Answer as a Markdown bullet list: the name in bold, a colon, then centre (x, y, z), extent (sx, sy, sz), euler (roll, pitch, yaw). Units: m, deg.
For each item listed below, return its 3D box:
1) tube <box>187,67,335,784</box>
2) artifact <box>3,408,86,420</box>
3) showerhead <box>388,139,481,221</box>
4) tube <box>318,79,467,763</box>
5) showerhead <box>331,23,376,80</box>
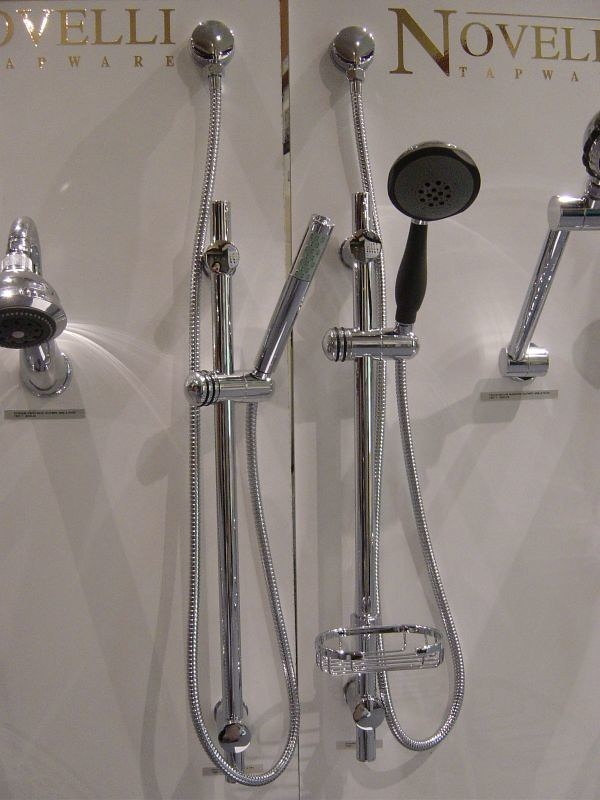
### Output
- **tube**: centre (-0.057, 0.027, 1.077), extent (0.154, 0.762, 0.301), euler (4, -13, 1)
- **artifact**: centre (-0.291, 0.013, 1.130), extent (0.074, 0.012, 0.005), euler (-3, 4, -3)
- **showerhead**: centre (0.127, -0.202, 0.929), extent (0.081, 0.052, 0.088), euler (1, -15, 16)
- **tube**: centre (0.102, -0.001, 1.056), extent (0.161, 0.745, 0.413), euler (2, -13, 10)
- **showerhead**: centre (0.062, -0.395, 1.126), extent (0.043, 0.063, 0.029), euler (1, 8, -2)
